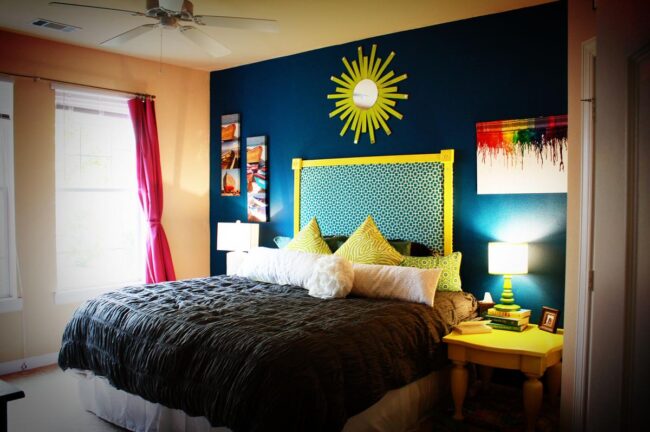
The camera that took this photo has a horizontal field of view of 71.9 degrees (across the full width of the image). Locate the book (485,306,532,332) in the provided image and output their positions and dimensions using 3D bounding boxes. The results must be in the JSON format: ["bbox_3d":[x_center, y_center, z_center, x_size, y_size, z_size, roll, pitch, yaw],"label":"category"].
[{"bbox_3d":[1.480,0.841,3.697,0.212,0.050,0.226,3,8,43],"label":"book"}]

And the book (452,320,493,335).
[{"bbox_3d":[1.158,0.878,3.553,0.184,0.056,0.133,0,-2,-7],"label":"book"}]

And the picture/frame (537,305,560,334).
[{"bbox_3d":[1.844,0.838,3.678,0.175,0.173,0.182,3,2,39],"label":"picture/frame"}]

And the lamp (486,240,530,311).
[{"bbox_3d":[1.590,0.509,3.900,0.306,0.571,0.398,0,2,21],"label":"lamp"}]
